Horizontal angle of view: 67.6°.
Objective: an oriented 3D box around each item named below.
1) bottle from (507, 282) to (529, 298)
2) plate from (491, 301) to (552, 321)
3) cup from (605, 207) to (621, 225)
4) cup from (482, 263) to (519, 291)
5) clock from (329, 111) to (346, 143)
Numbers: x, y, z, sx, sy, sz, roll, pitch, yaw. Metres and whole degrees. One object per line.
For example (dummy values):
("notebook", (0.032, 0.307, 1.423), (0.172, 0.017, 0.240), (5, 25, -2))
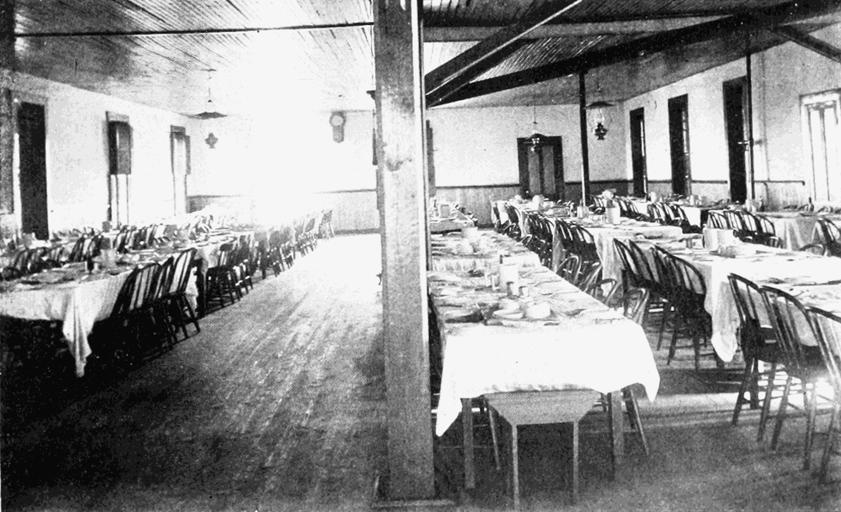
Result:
("bottle", (0.709, 0.250, 4.661), (0.141, 0.095, 0.099), (-1, 4, 7))
("plate", (0.696, 0.385, 4.348), (0.275, 0.081, 0.172), (3, 0, 8))
("cup", (2.768, -0.576, 9.103), (0.231, 0.410, 0.231), (-1, 0, 0))
("cup", (0.628, 0.168, 5.045), (0.294, 0.258, 0.179), (-11, 13, -13))
("clock", (-2.410, -3.804, 18.637), (0.499, 0.913, 0.238), (-5, 13, -10))
